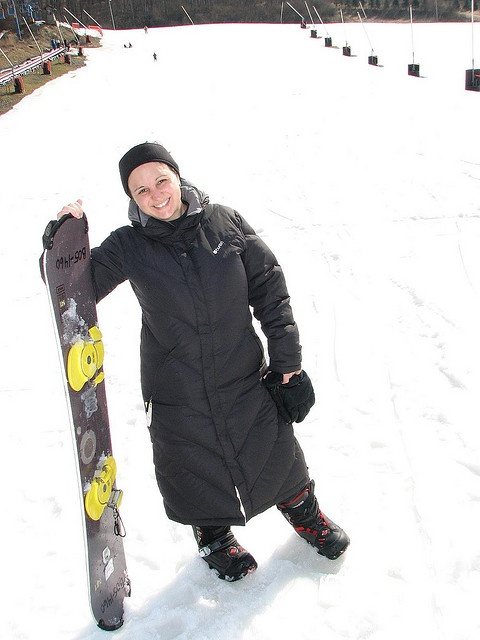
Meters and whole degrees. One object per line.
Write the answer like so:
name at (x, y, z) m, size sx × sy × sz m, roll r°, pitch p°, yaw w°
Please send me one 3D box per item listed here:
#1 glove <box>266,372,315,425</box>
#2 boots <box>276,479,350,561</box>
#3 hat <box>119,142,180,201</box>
glove at (0.219, 0.331, 2.353) m, size 0.225 × 0.201 × 0.085 m, roll 21°, pitch 14°, yaw 6°
boots at (0.327, 0.925, 2.533) m, size 0.134 × 0.340 × 0.341 m, roll -32°, pitch 26°, yaw -21°
hat at (-0.359, -0.583, 2.081) m, size 0.206 × 0.211 × 0.151 m, roll -14°, pitch 56°, yaw -44°
